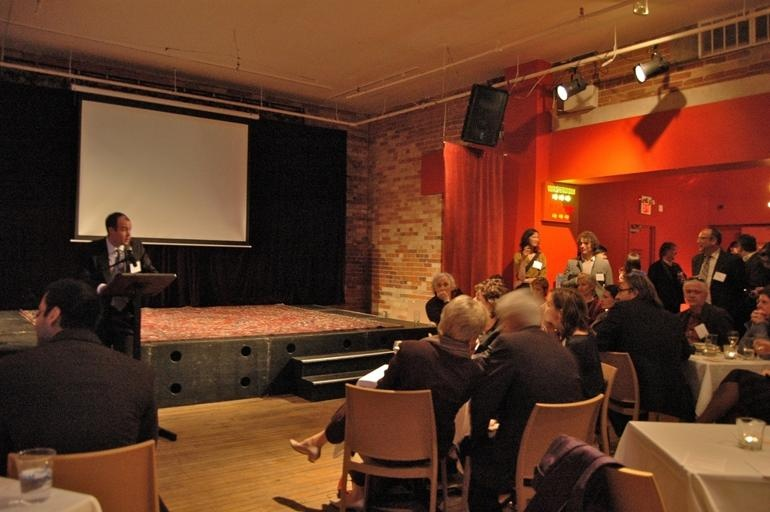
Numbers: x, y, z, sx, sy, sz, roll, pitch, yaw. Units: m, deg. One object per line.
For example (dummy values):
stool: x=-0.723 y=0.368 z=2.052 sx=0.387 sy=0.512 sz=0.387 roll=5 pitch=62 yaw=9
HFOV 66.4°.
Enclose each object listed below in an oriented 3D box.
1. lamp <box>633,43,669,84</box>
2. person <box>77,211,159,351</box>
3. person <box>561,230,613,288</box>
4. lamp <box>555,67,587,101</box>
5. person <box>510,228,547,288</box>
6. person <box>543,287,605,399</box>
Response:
lamp: x=3.415 y=-2.458 z=7.517 sx=0.396 sy=0.451 sz=0.259 roll=1 pitch=0 yaw=13
person: x=-2.618 y=0.392 z=5.778 sx=0.631 sy=1.579 sz=0.606 roll=12 pitch=24 yaw=-3
person: x=2.717 y=0.219 z=7.931 sx=0.737 sy=1.079 sz=0.584 roll=-2 pitch=-5 yaw=24
lamp: x=2.641 y=-2.439 z=8.286 sx=0.332 sy=0.407 sz=0.392 roll=0 pitch=0 yaw=-41
person: x=2.143 y=0.211 z=8.476 sx=0.398 sy=1.238 sz=0.329 roll=-5 pitch=27 yaw=8
person: x=1.506 y=0.748 z=4.836 sx=0.583 sy=0.951 sz=0.465 roll=0 pitch=-1 yaw=21
